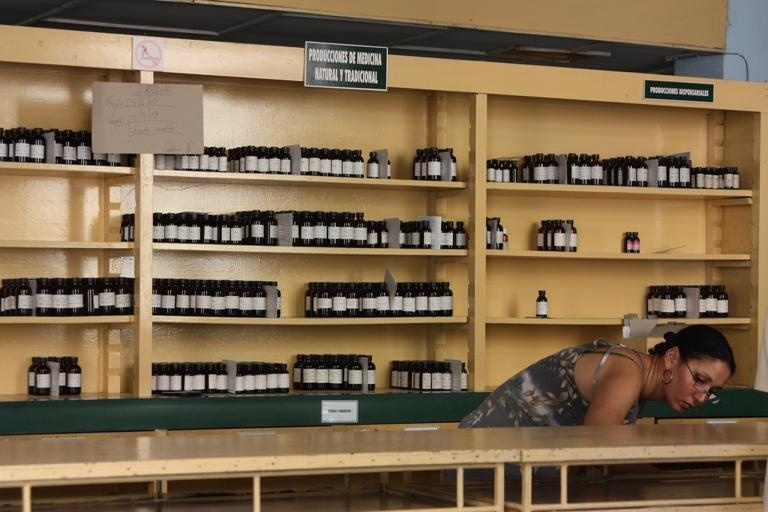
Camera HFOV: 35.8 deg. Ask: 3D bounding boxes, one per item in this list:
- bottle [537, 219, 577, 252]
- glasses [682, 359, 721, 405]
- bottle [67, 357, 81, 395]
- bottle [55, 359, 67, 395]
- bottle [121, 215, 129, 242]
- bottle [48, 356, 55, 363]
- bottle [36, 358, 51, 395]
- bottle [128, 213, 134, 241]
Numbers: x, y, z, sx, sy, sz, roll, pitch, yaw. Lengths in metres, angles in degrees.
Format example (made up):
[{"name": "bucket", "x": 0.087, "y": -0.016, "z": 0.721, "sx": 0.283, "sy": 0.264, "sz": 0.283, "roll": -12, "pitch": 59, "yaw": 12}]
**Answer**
[{"name": "bottle", "x": 1.198, "y": -0.143, "z": 8.356, "sx": 0.314, "sy": 0.264, "sz": 0.172, "roll": -1, "pitch": 3, "yaw": -8}, {"name": "glasses", "x": 1.556, "y": 0.619, "z": 5.913, "sx": 0.180, "sy": 0.053, "sz": 0.178, "roll": 19, "pitch": 21, "yaw": -34}, {"name": "bottle", "x": -1.995, "y": 0.781, "z": 7.702, "sx": 0.095, "sy": 0.243, "sz": 0.061, "roll": 0, "pitch": -3, "yaw": -27}, {"name": "bottle", "x": -2.060, "y": 0.778, "z": 7.666, "sx": 0.066, "sy": 0.244, "sz": 0.074, "roll": -1, "pitch": -2, "yaw": -17}, {"name": "bottle", "x": -1.682, "y": -0.189, "z": 7.769, "sx": 0.085, "sy": 0.170, "sz": 0.020, "roll": -3, "pitch": -3, "yaw": 44}, {"name": "bottle", "x": -2.122, "y": 0.666, "z": 7.640, "sx": 0.047, "sy": 0.028, "sz": 0.025, "roll": 3, "pitch": -6, "yaw": -35}, {"name": "bottle", "x": -2.180, "y": 0.779, "z": 7.647, "sx": 0.094, "sy": 0.236, "sz": 0.043, "roll": -1, "pitch": -2, "yaw": -15}, {"name": "bottle", "x": -1.623, "y": -0.191, "z": 7.693, "sx": 0.033, "sy": 0.185, "sz": 0.126, "roll": -1, "pitch": -2, "yaw": -14}]
